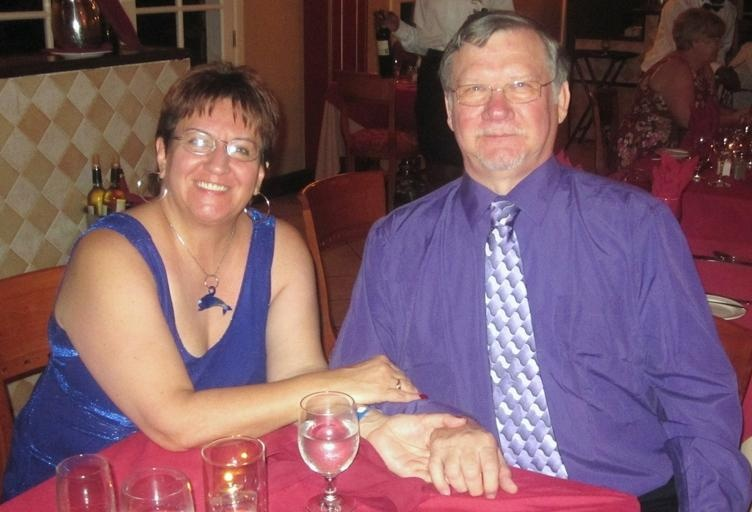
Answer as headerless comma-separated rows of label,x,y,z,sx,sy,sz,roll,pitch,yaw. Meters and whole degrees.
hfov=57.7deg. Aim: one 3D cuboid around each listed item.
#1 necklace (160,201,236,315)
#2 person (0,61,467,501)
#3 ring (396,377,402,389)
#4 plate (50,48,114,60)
necklace,-0.578,0.009,2.163,0.047,0.356,0.101,-18,-13,-33
person,-0.550,-0.047,2.613,1.668,1.578,0.946,5,9,44
ring,0.067,0.385,2.039,0.017,0.022,0.005,-9,-11,-45
plate,-1.463,-0.984,3.333,0.281,0.050,0.156,-1,12,-3
